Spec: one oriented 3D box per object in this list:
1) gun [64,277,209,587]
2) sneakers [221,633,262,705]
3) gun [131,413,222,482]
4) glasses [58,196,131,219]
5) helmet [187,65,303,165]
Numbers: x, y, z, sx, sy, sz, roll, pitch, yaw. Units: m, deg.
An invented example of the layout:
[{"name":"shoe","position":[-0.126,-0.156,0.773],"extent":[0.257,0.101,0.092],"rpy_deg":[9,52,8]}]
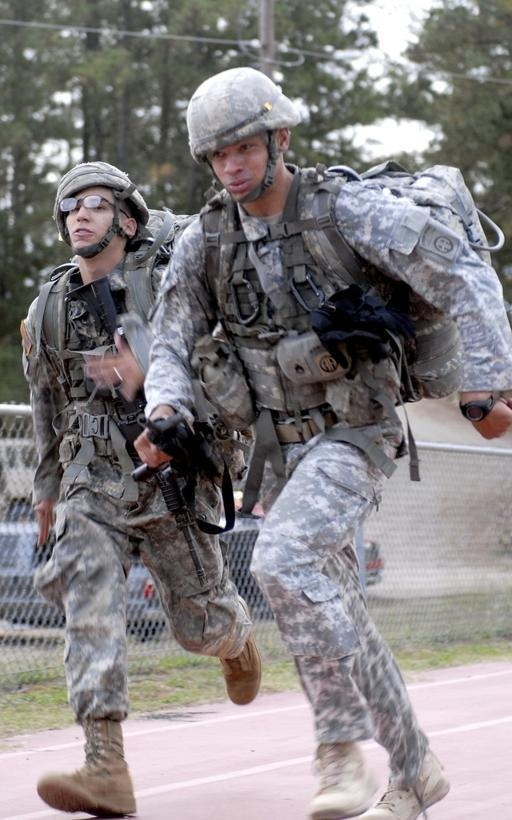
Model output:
[{"name":"gun","position":[-0.424,0.047,3.237],"extent":[0.133,1.176,0.387],"rpy_deg":[-36,-16,37]},{"name":"sneakers","position":[-0.034,1.168,4.150],"extent":[0.136,0.351,0.163],"rpy_deg":[0,20,24]},{"name":"gun","position":[-0.231,0.153,2.967],"extent":[0.172,0.093,0.355],"rpy_deg":[-14,-4,29]},{"name":"glasses","position":[-0.641,-0.799,3.698],"extent":[0.117,0.034,0.128],"rpy_deg":[-8,-12,30]},{"name":"helmet","position":[-0.024,-0.869,2.663],"extent":[0.358,0.195,0.336],"rpy_deg":[-13,21,6]}]
